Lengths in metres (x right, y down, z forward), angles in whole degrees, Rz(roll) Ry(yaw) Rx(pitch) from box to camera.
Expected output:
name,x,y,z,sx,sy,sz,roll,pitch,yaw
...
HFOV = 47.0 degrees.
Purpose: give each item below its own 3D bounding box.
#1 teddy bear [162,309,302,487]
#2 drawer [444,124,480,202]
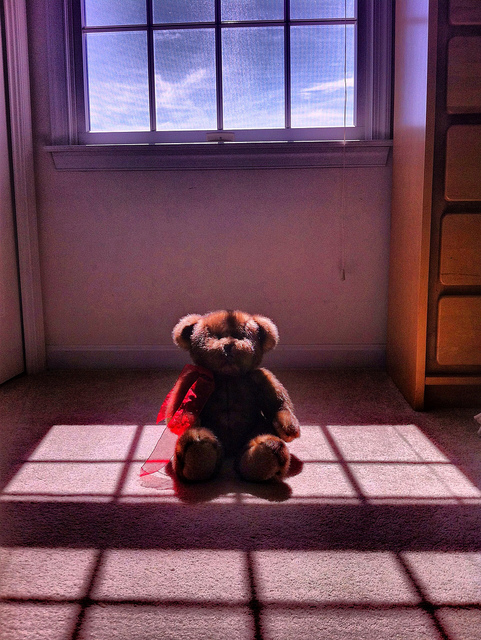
name,x,y,z,sx,sy,sz,roll,pitch,yaw
teddy bear,-0.031,0.173,1.318,0.312,0.396,0.312,0,-2,5
drawer,0.638,-0.449,1.579,0.100,0.205,0.038,2,18,13
